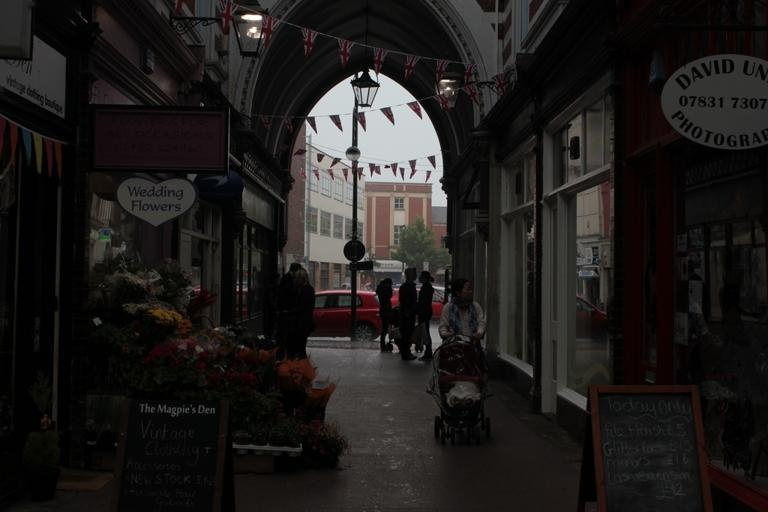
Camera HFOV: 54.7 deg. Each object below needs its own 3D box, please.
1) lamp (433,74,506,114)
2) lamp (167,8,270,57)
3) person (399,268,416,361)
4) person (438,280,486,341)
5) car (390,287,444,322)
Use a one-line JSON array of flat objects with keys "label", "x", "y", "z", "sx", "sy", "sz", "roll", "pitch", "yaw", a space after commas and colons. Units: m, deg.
[{"label": "lamp", "x": 1.882, "y": -3.674, "z": 16.455, "sx": 1.246, "sy": 0.910, "sz": 0.765, "roll": 1, "pitch": -5, "yaw": 4}, {"label": "lamp", "x": -2.853, "y": -4.149, "z": 13.306, "sx": 1.345, "sy": 0.799, "sz": 0.912, "roll": -1, "pitch": 2, "yaw": -3}, {"label": "person", "x": 0.588, "y": 1.537, "z": 18.470, "sx": 0.440, "sy": 2.042, "sz": 0.805, "roll": 0, "pitch": -7, "yaw": 0}, {"label": "person", "x": 1.105, "y": 0.741, "z": 10.620, "sx": 0.630, "sy": 0.909, "sz": 0.877, "roll": -1, "pitch": -8, "yaw": 4}, {"label": "car", "x": 1.612, "y": 1.979, "z": 31.014, "sx": 2.763, "sy": 1.362, "sz": 1.463, "roll": -3, "pitch": 4, "yaw": -6}]
